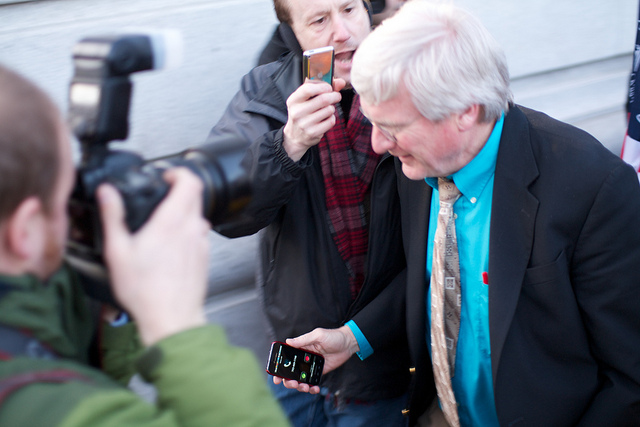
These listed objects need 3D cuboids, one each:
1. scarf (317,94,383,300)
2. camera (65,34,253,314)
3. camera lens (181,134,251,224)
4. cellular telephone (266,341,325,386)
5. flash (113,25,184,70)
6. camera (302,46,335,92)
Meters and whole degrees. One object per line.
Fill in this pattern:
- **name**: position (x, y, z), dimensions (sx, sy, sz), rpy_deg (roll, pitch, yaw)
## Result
- **scarf**: position (0.106, -0.092, 1.897), dimensions (0.245, 0.817, 0.084), rpy_deg (-2, 2, 1)
- **camera**: position (-0.369, -0.123, 0.930), dimensions (0.346, 0.499, 0.483), rpy_deg (-19, 39, -33)
- **camera lens**: position (-0.179, -0.076, 0.995), dimensions (0.115, 0.144, 0.192), rpy_deg (-11, 33, -24)
- **cellular telephone**: position (-0.089, 0.562, 1.780), dimensions (0.213, 0.025, 0.124), rpy_deg (21, 59, -14)
- **flash**: position (-0.351, -0.342, 1.010), dimensions (0.064, 0.115, 0.113), rpy_deg (-22, 12, -29)
- **camera**: position (-0.002, -0.501, 1.675), dimensions (0.100, 0.142, 0.130), rpy_deg (-2, -3, 10)
